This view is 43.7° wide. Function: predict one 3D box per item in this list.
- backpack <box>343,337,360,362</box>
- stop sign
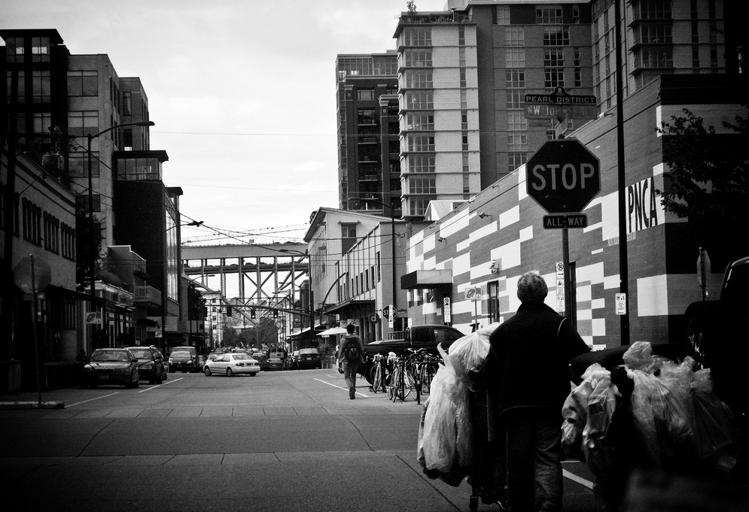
[{"bbox_3d":[-0.724,2.937,28.836,0.486,0.795,0.422,6,-28,-13],"label":"backpack"},{"bbox_3d":[3.383,-1.489,16.822,1.292,1.441,0.423,0,-8,1],"label":"stop sign"}]
